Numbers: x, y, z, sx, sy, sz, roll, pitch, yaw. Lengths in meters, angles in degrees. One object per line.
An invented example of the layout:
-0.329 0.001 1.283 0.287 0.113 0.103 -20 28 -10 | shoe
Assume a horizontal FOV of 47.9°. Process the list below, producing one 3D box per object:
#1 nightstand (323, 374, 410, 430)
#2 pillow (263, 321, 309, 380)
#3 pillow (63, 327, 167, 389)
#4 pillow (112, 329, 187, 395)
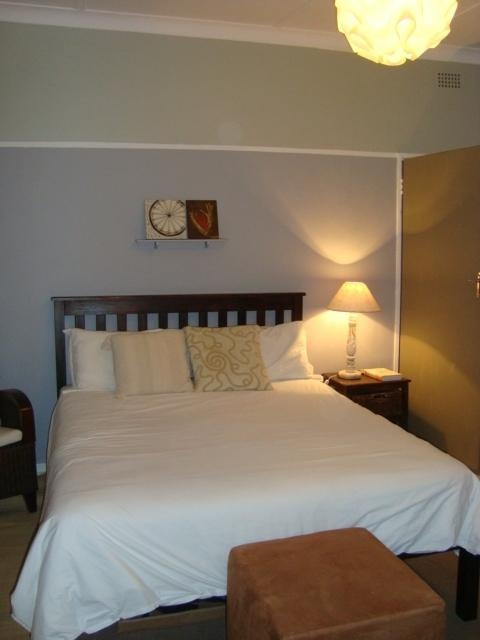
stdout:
0.793 0.434 3.317 0.356 0.348 0.353 -3 7 -21 | nightstand
0.275 0.191 3.205 0.300 0.297 0.090 -3 -10 -22 | pillow
-0.661 0.212 2.865 0.301 0.295 0.087 4 -9 -24 | pillow
-0.461 0.238 2.836 0.355 0.330 0.101 1 -17 -21 | pillow
